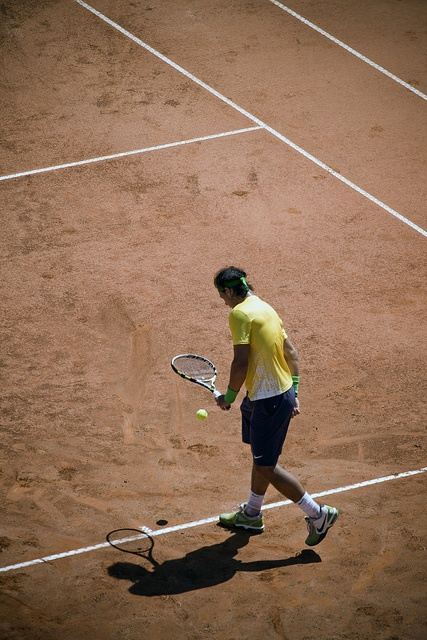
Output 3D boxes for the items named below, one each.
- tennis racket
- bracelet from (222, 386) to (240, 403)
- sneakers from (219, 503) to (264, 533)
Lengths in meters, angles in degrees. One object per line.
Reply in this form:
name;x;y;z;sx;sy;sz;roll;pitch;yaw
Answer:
tennis racket;-0.098;0.500;7.387;0.248;0.054;0.546;0;24;-37
bracelet;0.128;0.564;6.627;0.129;0.102;0.108;22;5;26
sneakers;0.265;1.640;7.178;0.450;0.160;0.229;7;45;13
